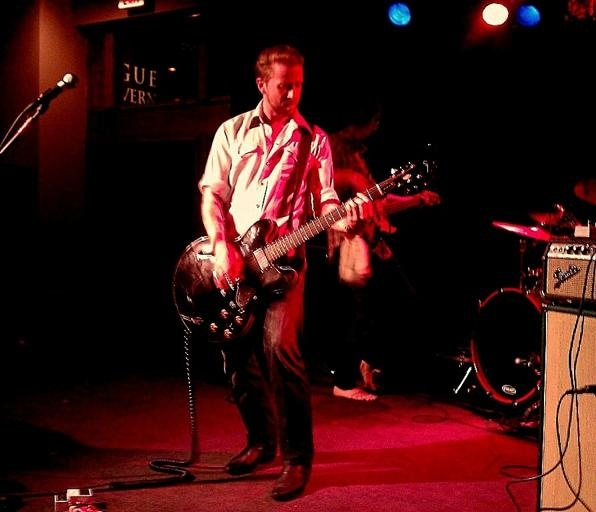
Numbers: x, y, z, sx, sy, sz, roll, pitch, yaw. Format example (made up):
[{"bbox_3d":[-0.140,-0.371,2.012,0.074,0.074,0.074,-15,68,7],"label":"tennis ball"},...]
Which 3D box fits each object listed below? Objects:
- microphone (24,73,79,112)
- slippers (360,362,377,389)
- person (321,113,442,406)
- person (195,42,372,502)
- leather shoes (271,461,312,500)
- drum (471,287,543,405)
[{"bbox_3d":[-0.978,-0.659,2.280,0.194,0.170,0.254,1,6,-6],"label":"microphone"},{"bbox_3d":[0.425,0.743,3.452,0.104,0.167,0.042,-19,11,-24],"label":"slippers"},{"bbox_3d":[0.414,0.081,3.008,0.674,1.680,0.172,0,14,-15],"label":"person"},{"bbox_3d":[-0.069,0.090,2.686,0.932,2.220,0.829,6,7,34],"label":"person"},{"bbox_3d":[-0.021,1.020,2.558,0.219,0.134,0.072,-26,43,-27],"label":"leather shoes"},{"bbox_3d":[1.237,0.514,3.324,0.394,0.694,0.394,2,6,0],"label":"drum"}]
